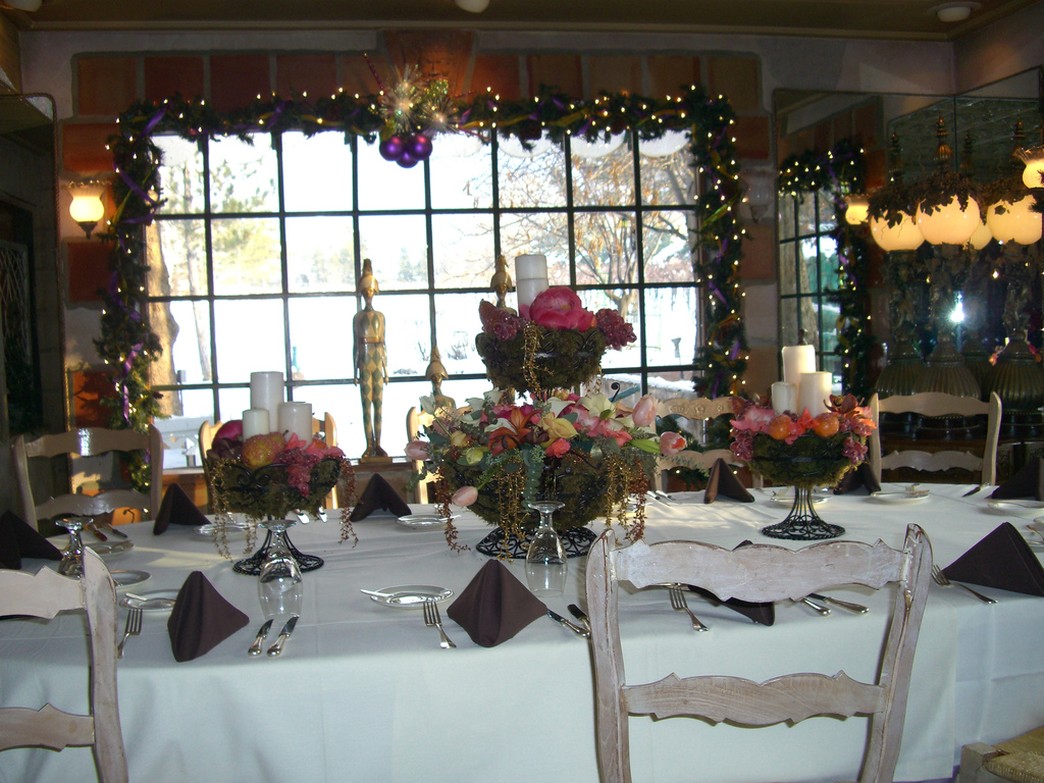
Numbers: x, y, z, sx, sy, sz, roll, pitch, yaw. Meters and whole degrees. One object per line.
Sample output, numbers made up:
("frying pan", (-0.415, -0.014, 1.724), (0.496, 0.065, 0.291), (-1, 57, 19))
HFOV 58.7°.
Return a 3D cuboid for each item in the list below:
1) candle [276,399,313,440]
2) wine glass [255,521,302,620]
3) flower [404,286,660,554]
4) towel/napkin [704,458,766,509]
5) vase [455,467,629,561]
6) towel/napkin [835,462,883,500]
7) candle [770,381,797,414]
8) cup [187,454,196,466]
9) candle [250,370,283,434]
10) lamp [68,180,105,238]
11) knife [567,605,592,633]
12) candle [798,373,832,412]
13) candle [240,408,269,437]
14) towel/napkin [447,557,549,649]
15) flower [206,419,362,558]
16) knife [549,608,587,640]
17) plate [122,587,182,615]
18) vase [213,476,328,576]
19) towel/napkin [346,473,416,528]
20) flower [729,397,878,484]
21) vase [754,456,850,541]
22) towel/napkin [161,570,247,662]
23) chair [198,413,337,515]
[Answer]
("candle", (-0.619, 0.073, 2.547), (0.090, 0.112, 0.091), (-1, 4, -31))
("wine glass", (-0.571, 0.430, 2.180), (0.117, 0.260, 0.121), (6, -32, -32))
("flower", (0.016, 0.094, 2.551), (0.631, 0.709, 0.684), (2, -1, 0))
("towel/napkin", (0.710, 0.320, 3.213), (0.168, 0.139, 0.140), (-3, -5, 31))
("vase", (0.079, 0.313, 2.477), (0.279, 0.199, 0.292), (0, 0, 12))
("towel/napkin", (1.159, 0.309, 3.205), (0.113, 0.119, 0.115), (11, 15, 44))
("candle", (0.774, 0.015, 2.749), (0.074, 0.123, 0.073), (1, 4, -31))
("cup", (-1.986, 0.409, 5.582), (0.058, 0.072, 0.060), (0, -1, 0))
("candle", (-0.709, 0.035, 2.582), (0.116, 0.169, 0.120), (0, -12, -25))
("lamp", (-2.533, -1.062, 5.406), (0.175, 0.317, 0.180), (-3, 5, -29))
("knife", (0.125, 0.496, 2.055), (0.023, 0.016, 0.109), (12, 8, -9))
("candle", (0.831, 0.001, 2.658), (0.098, 0.180, 0.107), (0, -1, 23))
("candle", (-0.704, 0.081, 2.446), (0.067, 0.082, 0.068), (-5, 7, -35))
("towel/napkin", (-0.067, 0.447, 2.091), (0.256, 0.162, 0.180), (1, 8, -5))
("flower", (-0.672, 0.292, 2.524), (0.348, 0.357, 0.362), (-3, 8, -14))
("knife", (0.103, 0.516, 2.075), (0.030, 0.020, 0.128), (-33, 16, -13))
("plate", (-0.904, 0.508, 2.267), (0.089, 0.020, 0.073), (-1, 17, -38))
("vase", (-0.687, 0.344, 2.516), (0.250, 0.167, 0.248), (1, 2, -39))
("towel/napkin", (-0.460, 0.321, 3.077), (0.192, 0.175, 0.142), (5, 5, 42))
("flower", (0.820, 0.166, 2.781), (0.412, 0.246, 0.410), (-5, -6, 41))
("vase", (0.826, 0.332, 2.742), (0.242, 0.168, 0.245), (-1, 4, 27))
("towel/napkin", (-0.729, 0.482, 2.080), (0.169, 0.164, 0.153), (5, 10, 26))
("chair", (-0.672, 0.213, 2.524), (0.339, 0.251, 0.375), (4, -5, -3))
